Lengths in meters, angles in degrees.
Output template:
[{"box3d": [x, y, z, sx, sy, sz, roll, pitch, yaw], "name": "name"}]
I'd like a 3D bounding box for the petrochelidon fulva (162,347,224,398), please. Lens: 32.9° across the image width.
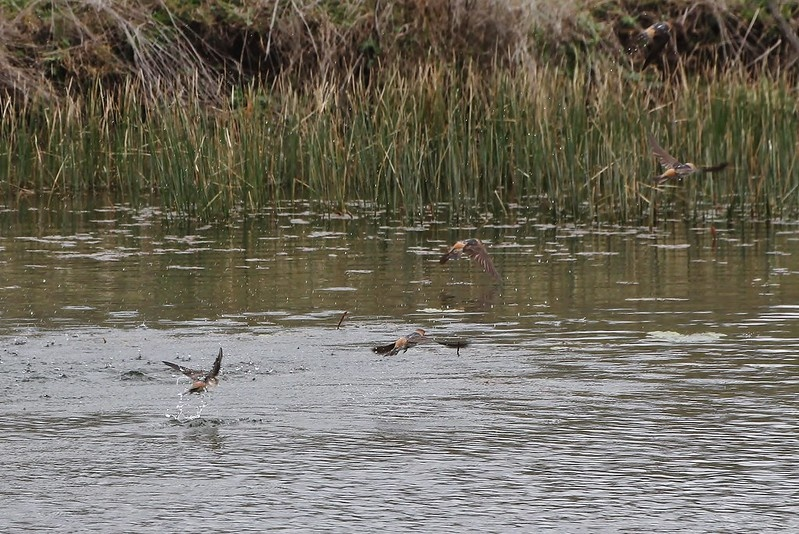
[{"box3d": [-1.183, 0.677, 8.307, 0.276, 0.195, 0.363, 1, 11, 16], "name": "petrochelidon fulva"}]
